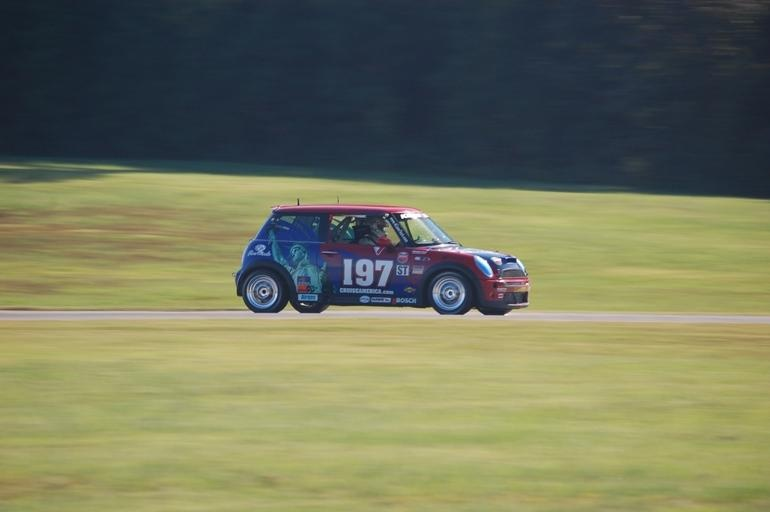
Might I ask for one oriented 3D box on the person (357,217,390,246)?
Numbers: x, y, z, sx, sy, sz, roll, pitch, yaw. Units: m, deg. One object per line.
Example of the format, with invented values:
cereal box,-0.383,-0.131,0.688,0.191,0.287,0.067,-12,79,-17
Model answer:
person,-0.187,-0.522,35.630,0.865,0.567,0.580,-3,94,-4
